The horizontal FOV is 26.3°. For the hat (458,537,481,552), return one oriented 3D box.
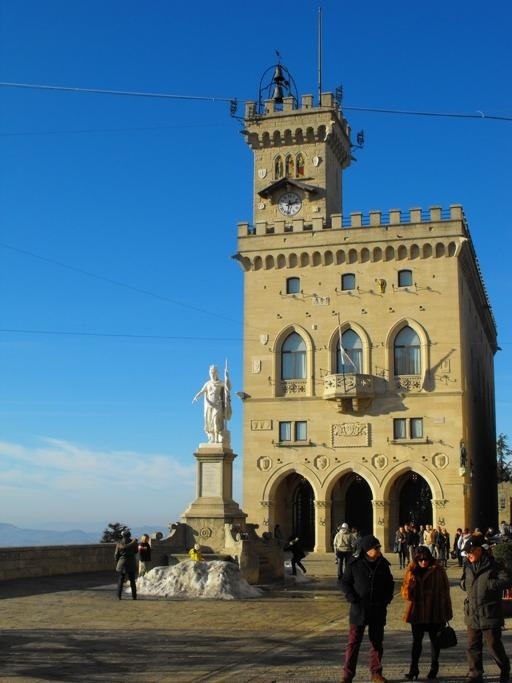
[{"bbox_3d":[2.762,2.556,13.815,0.346,0.186,0.243,5,-9,-14],"label":"hat"}]

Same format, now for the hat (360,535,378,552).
[{"bbox_3d":[1.445,2.565,13.971,0.240,0.188,0.183,-26,-3,15],"label":"hat"}]

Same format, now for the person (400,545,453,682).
[{"bbox_3d":[2.305,3.608,14.710,0.642,1.736,1.048,-1,-13,8],"label":"person"}]

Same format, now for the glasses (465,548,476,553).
[{"bbox_3d":[2.722,2.623,13.818,0.090,0.090,0.059,-11,-14,-45],"label":"glasses"}]

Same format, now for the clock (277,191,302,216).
[{"bbox_3d":[1.680,-6.579,52.369,1.203,1.331,0.148,-1,-2,23],"label":"clock"}]

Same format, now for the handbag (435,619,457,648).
[{"bbox_3d":[2.534,3.851,14.447,0.253,0.441,0.460,-2,-9,4],"label":"handbag"}]

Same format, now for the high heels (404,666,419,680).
[{"bbox_3d":[2.039,4.292,14.204,0.088,0.141,0.271,7,-6,-14],"label":"high heels"}]
